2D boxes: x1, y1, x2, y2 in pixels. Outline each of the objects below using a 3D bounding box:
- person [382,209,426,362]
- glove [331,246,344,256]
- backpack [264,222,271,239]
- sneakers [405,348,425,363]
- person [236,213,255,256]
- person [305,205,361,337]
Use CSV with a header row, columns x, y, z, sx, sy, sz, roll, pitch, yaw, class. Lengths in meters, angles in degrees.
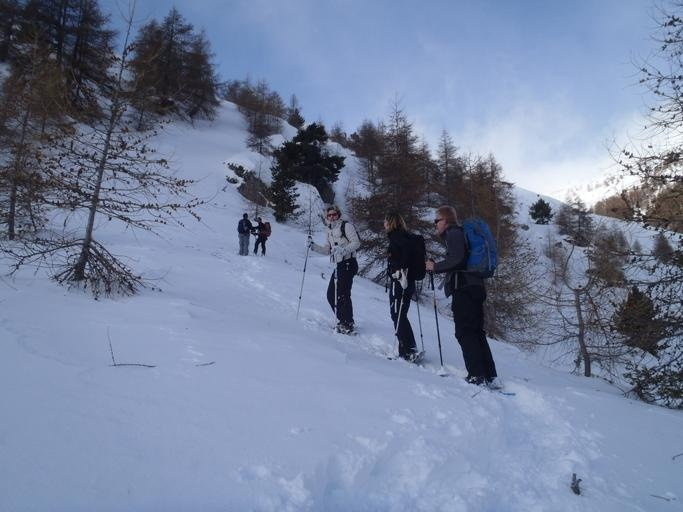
x,y,z,sx,sy,sz,roll,pitch,yaw,class
1.284,0.594,12.289,0.501,2.717,1.166,1,10,-44,person
-0.075,-0.105,13.171,0.195,0.166,0.211,0,0,30,glove
-2.802,-0.994,23.152,0.241,0.555,0.800,6,8,-11,backpack
1.514,1.955,12.119,0.491,0.263,0.164,-4,3,-21,sneakers
-3.356,-0.771,21.762,0.541,1.493,1.556,7,8,-8,person
-0.073,0.284,13.473,0.881,2.615,1.059,2,9,-42,person
